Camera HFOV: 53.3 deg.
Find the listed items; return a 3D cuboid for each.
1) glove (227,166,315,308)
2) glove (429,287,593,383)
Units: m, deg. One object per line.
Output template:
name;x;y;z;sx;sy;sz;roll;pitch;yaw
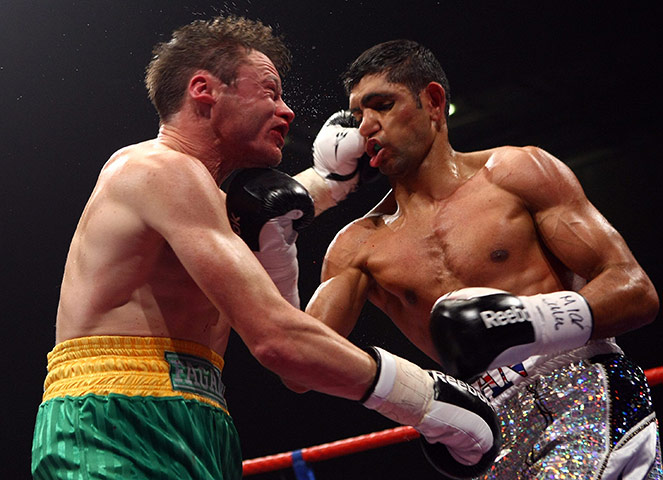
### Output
glove;-0.277;-0.124;2.983;0.257;0.195;0.480;-14;45;0
glove;0.814;0.423;3.123;0.821;0.327;0.530;-7;-8;-12
